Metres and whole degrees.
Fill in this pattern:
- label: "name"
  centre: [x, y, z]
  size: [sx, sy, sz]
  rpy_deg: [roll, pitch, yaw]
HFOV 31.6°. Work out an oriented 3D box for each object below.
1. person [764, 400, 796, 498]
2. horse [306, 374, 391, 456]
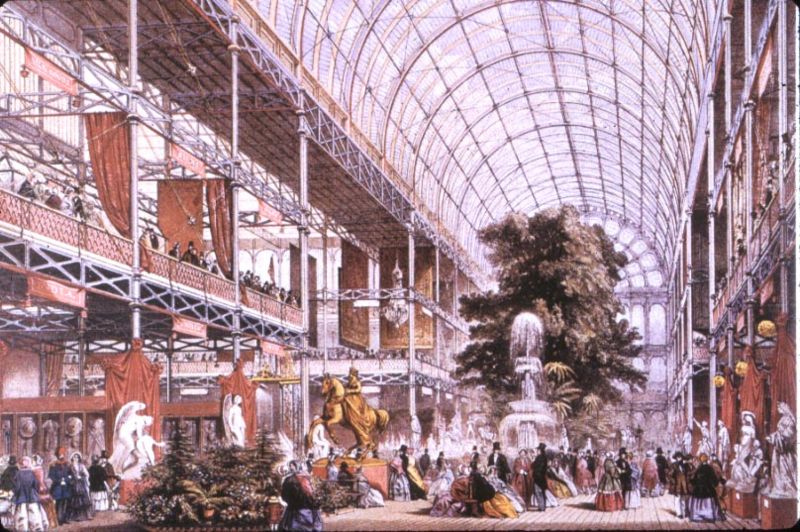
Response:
- label: "person"
  centre: [14.465, 7.041, 53.530]
  size: [0.786, 3.621, 1.463]
  rpy_deg: [2, -13, -24]
- label: "horse"
  centre: [-2.265, 6.534, 61.720]
  size: [3.873, 3.790, 1.432]
  rpy_deg: [8, -4, -26]
